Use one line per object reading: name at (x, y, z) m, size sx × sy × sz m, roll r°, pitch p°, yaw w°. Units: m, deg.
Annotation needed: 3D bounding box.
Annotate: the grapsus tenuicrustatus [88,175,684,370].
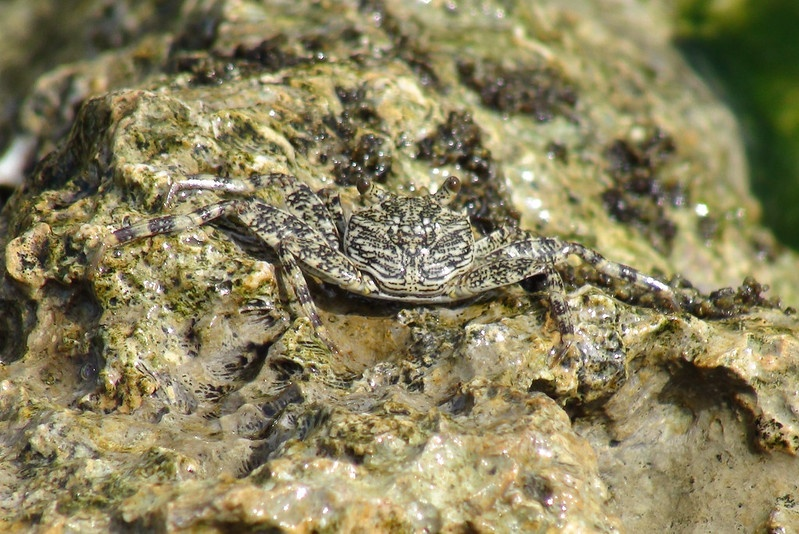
grapsus tenuicrustatus at (-0.112, -0.153, 9.399) m, size 3.930 × 1.274 × 1.221 m, roll 8°, pitch 82°, yaw -1°
